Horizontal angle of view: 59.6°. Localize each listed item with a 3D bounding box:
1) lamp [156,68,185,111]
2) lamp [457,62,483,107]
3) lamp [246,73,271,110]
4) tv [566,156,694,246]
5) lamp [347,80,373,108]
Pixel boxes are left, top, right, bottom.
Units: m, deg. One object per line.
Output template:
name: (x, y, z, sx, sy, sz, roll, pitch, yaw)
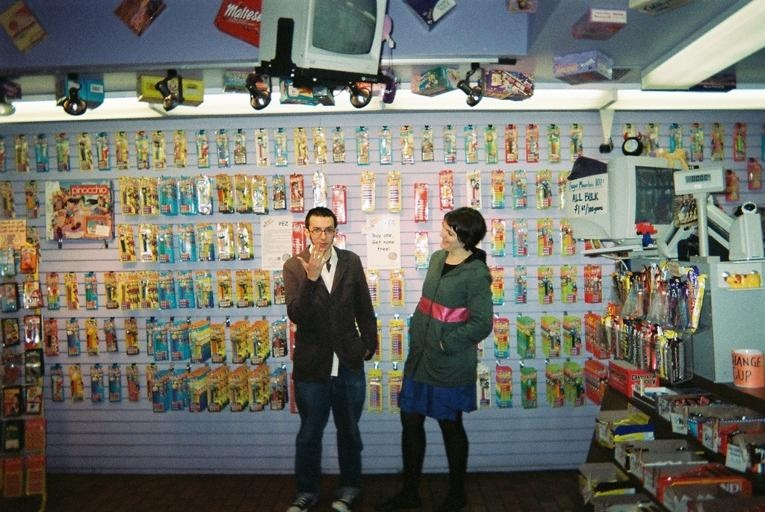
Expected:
lamp: (-2.159, -1.700, 6.787, 0.245, 0.406, 0.161, 0, 5, 22)
lamp: (0.926, -1.762, 6.894, 0.234, 0.420, 0.388, 0, 5, 21)
lamp: (-1.214, -1.609, 6.554, 0.256, 0.353, 0.150, -13, 17, -38)
tv: (2.224, -0.530, 6.152, 0.931, 0.780, 0.843, -1, 2, -19)
lamp: (-0.217, -1.593, 6.543, 0.219, 0.223, 0.600, -1, 5, 1)
